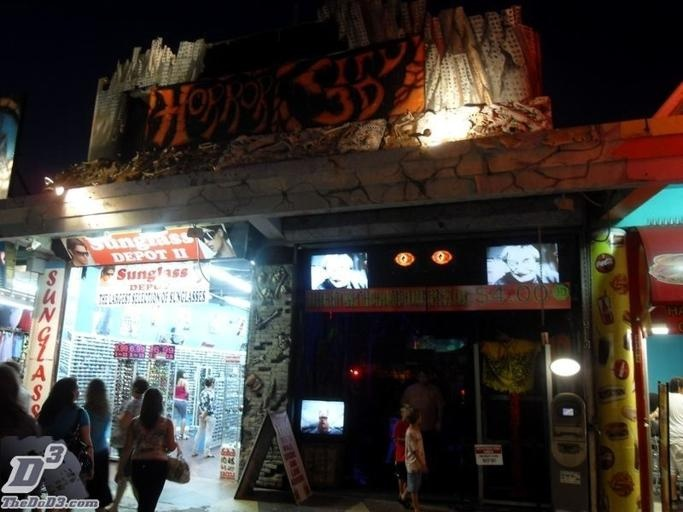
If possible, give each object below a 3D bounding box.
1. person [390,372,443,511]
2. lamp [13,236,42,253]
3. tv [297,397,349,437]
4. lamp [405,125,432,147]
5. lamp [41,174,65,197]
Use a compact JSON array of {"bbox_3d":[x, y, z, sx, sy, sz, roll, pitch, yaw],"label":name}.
[{"bbox_3d":[1.326,3.249,10.776,0.742,2.362,1.146,-3,-14,16],"label":"person"},{"bbox_3d":[-6.476,-0.276,12.700,0.355,0.206,0.537,-14,-14,22],"label":"lamp"},{"bbox_3d":[-0.343,3.108,11.658,0.748,0.544,0.081,0,-14,6],"label":"tv"},{"bbox_3d":[1.384,-2.143,10.846,0.309,0.251,0.485,3,-3,-4],"label":"lamp"},{"bbox_3d":[-5.786,-1.397,12.324,0.332,0.524,0.682,10,-16,-32],"label":"lamp"}]
